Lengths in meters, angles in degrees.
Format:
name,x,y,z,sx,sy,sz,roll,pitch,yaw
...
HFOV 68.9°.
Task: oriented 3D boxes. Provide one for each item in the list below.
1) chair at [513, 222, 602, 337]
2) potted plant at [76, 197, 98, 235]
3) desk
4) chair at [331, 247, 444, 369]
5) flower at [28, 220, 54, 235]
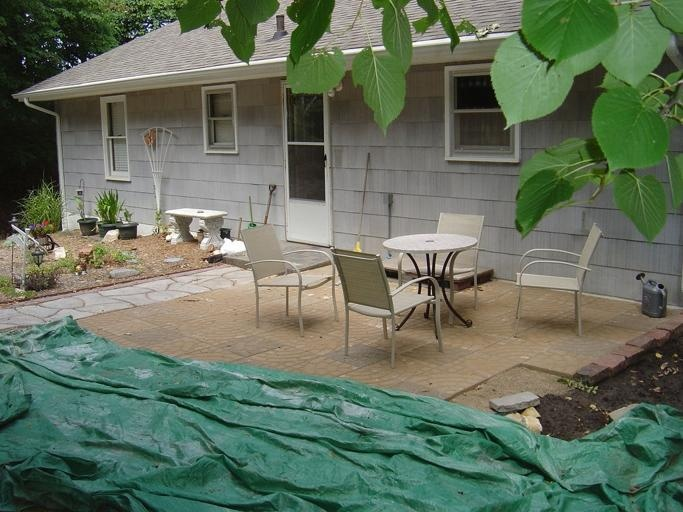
name,x,y,z,sx,sy,sz,roll,pitch,yaw
chair,2.637,0.282,6.213,1.146,1.056,0.974,0,11,31
potted plant,-7.285,-1.187,14.288,0.469,0.919,2.665,-7,13,-27
desk,1.212,0.300,6.753,1.486,1.020,1.348,-1,7,4
chair,0.615,0.494,5.853,1.238,1.253,1.068,-11,17,-41
flower,-6.942,-0.624,11.513,0.664,0.274,0.612,0,1,-22
